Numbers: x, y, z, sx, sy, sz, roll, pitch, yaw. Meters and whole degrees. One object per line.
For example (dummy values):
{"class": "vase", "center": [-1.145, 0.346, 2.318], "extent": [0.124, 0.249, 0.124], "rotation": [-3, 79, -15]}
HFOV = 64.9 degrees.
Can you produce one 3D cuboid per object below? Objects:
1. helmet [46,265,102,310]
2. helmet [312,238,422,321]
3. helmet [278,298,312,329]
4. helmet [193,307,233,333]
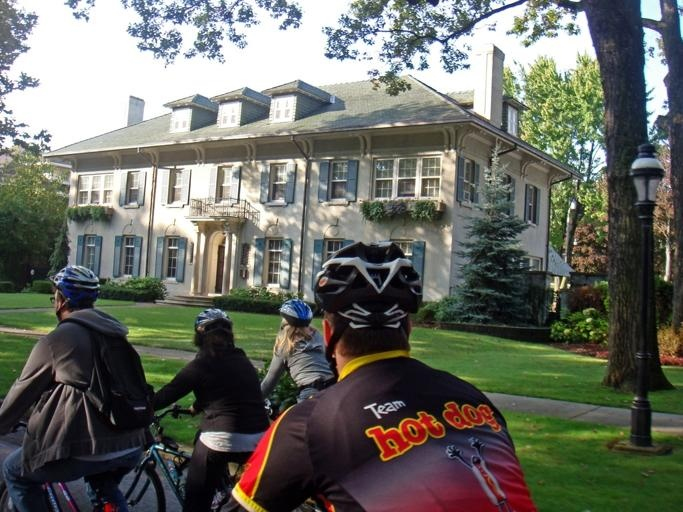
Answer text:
{"class": "helmet", "center": [-1.899, 0.249, 3.847], "extent": [0.366, 0.331, 0.286], "rotation": [-1, -8, 29]}
{"class": "helmet", "center": [0.119, 0.104, 2.322], "extent": [0.445, 0.311, 0.586], "rotation": [3, -6, -8]}
{"class": "helmet", "center": [-0.460, 0.612, 5.436], "extent": [0.254, 0.256, 0.314], "rotation": [5, 19, -29]}
{"class": "helmet", "center": [-1.080, 0.543, 4.464], "extent": [0.254, 0.217, 0.195], "rotation": [-24, -13, 20]}
